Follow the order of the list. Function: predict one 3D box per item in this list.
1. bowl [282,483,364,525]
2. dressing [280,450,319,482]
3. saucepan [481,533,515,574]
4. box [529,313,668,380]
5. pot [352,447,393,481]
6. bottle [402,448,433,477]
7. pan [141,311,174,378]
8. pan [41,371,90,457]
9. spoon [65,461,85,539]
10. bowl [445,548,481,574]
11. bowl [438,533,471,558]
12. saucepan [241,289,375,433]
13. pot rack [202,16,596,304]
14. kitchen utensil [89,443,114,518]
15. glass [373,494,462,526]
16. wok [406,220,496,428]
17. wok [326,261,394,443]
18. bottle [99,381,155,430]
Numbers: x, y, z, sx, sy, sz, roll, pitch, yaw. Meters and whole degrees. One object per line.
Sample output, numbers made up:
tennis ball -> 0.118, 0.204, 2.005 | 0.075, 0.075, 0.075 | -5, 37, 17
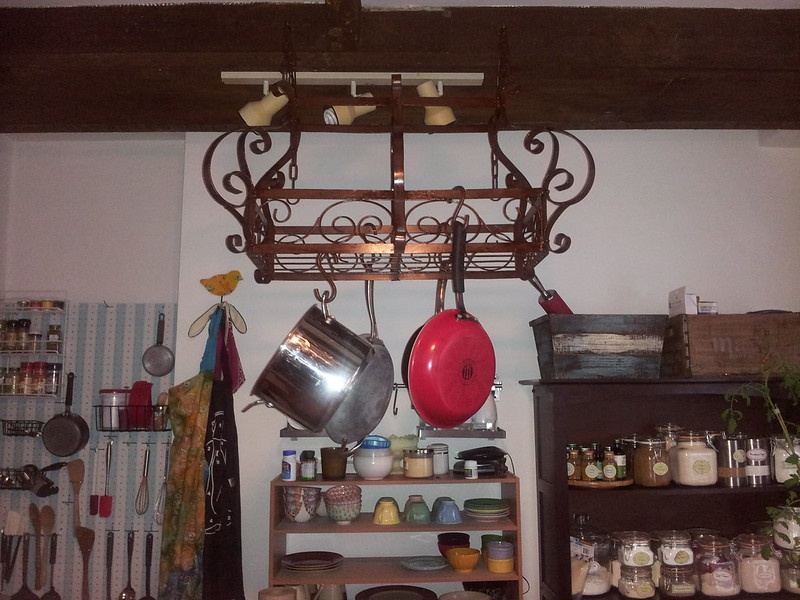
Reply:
bowl -> -0.356, 0.940, 4.091 | 0.281, 0.127, 0.209 | 0, -6, -2
dressing -> -0.491, 0.786, 4.134 | 0.189, 0.156, 0.102 | 4, -10, -12
saucepan -> 0.455, 1.172, 4.069 | 0.131, 0.132, 0.130 | -1, -3, 23
box -> 0.939, 0.228, 4.007 | 0.460, 0.220, 0.317 | 1, -12, 2
pot -> -0.123, 0.755, 4.055 | 0.161, 0.119, 0.163 | 1, -14, 0
bottle -> 0.082, 0.760, 4.064 | 0.136, 0.103, 0.105 | 1, -5, -1
pan -> -1.256, 0.227, 4.526 | 0.156, 0.313, 0.044 | 2, -8, -13
pan -> -1.734, 0.592, 4.506 | 0.215, 0.430, 0.124 | -4, -12, 21
spoon -> -1.677, 0.995, 4.463 | 0.096, 0.362, 0.049 | 1, -11, -5
bowl -> 0.298, 1.203, 4.064 | 0.145, 0.108, 0.194 | -1, -11, 5
bowl -> 0.254, 1.177, 4.171 | 0.114, 0.080, 0.126 | -1, -18, 0
saucepan -> -0.333, 0.254, 3.266 | 0.433, 0.450, 0.137 | 2, -11, -12
pot rack -> -0.004, -0.605, 3.500 | 1.429, 0.967, 0.625 | 0, 2, 0
kitchen utensil -> -1.536, 0.915, 4.468 | 0.120, 0.384, 0.042 | -3, -11, 14
glass -> 0.085, 0.993, 4.135 | 0.416, 0.137, 0.198 | -1, -11, 3
wok -> 0.177, 0.093, 3.294 | 0.391, 0.714, 0.110 | -4, 4, -41
wok -> -0.144, 0.251, 3.344 | 0.076, 0.562, 0.320 | 5, 4, 32
bottle -> -1.397, 0.551, 4.445 | 0.266, 0.244, 0.197 | 1, -8, 2
